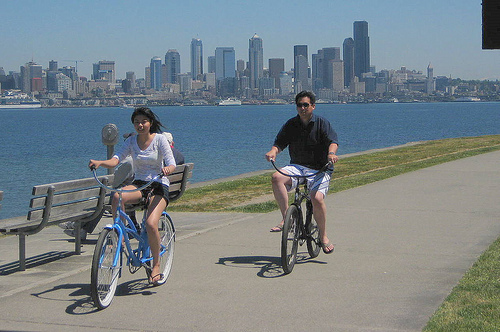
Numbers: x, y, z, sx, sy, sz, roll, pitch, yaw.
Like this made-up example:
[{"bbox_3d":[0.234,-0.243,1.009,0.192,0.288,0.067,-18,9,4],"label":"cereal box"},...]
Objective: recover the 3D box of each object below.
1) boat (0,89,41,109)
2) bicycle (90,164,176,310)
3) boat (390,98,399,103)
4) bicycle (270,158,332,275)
[{"bbox_3d":[-82.808,-23.376,238.697,4.667,6.304,23.753,-1,-1,3],"label":"boat"},{"bbox_3d":[-1.611,0.859,8.901,0.884,1.726,1.536,1,11,12],"label":"bicycle"},{"bbox_3d":[91.547,-41.999,426.416,4.308,2.077,5.691,0,1,10],"label":"boat"},{"bbox_3d":[0.704,0.935,9.720,0.752,1.091,1.790,-1,-2,15],"label":"bicycle"}]
